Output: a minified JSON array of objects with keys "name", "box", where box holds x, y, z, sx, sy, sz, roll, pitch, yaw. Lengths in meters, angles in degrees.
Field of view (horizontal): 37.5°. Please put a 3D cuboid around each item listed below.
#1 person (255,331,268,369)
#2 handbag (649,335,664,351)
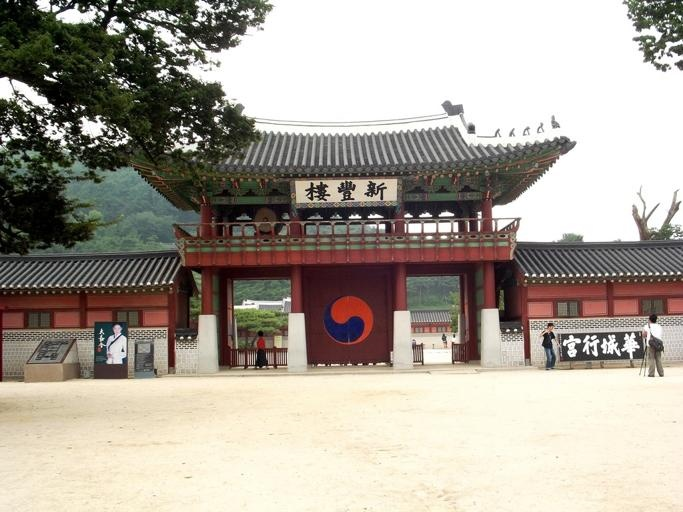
[{"name":"person","box":[-3.111,3.660,40.175,0.484,1.431,1.187,-3,10,-4]},{"name":"handbag","box":[10.176,2.793,32.636,0.518,0.482,0.291,7,-12,-39]}]
